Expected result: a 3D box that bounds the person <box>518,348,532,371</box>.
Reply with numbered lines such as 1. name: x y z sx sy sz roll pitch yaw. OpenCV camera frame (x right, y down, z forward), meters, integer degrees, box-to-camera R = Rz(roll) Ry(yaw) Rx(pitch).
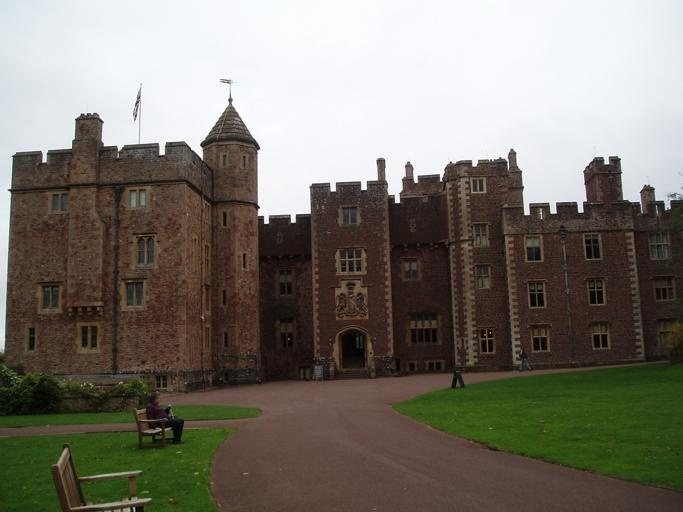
1. person: 12.003 6.907 41.586 0.712 1.477 3.053 -3 -3 16
